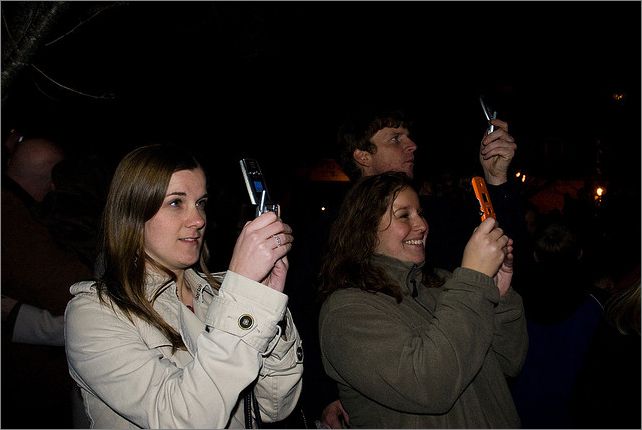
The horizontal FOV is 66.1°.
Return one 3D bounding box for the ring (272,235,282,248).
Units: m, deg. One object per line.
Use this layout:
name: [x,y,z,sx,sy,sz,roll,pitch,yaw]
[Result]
ring: [-0.291,0.183,3.347,0.023,0.067,0.066,-17,39,-8]
